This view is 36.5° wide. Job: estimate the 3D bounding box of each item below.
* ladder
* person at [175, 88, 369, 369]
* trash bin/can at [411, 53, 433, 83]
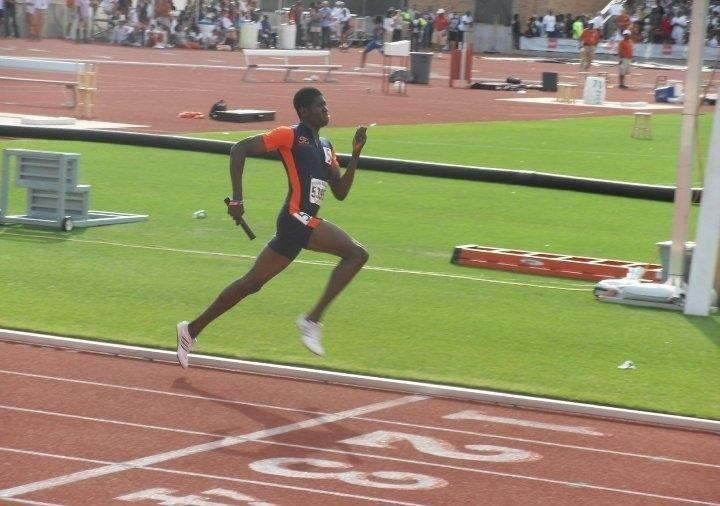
[{"bbox_3d":[2.075,0.112,11.775,2.167,0.257,0.513,5,12,20],"label":"ladder"},{"bbox_3d":[-0.551,-0.193,8.381,1.231,2.177,1.112,9,16,13],"label":"person"},{"bbox_3d":[1.965,-6.143,36.113,0.693,1.028,1.194,5,13,2],"label":"trash bin/can"}]
